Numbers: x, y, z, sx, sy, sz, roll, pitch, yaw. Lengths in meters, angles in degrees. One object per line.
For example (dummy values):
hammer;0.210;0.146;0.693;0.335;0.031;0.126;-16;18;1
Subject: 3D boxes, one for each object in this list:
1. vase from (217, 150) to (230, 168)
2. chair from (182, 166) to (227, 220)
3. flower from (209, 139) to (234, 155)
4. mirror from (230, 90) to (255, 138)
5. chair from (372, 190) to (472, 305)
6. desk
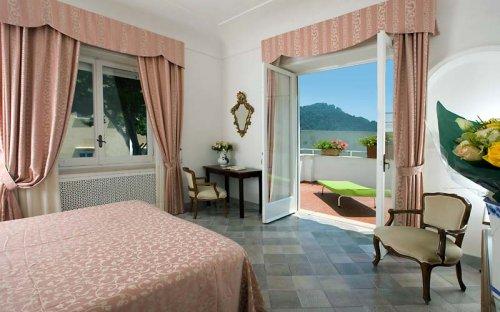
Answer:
vase;-0.566;0.052;6.669;0.308;0.378;0.311;-2;5;-10
chair;-0.870;0.649;6.304;0.779;0.933;0.681;-2;9;-17
flower;-0.541;-0.183;6.728;0.319;0.211;0.318;1;-1;32
mirror;-0.141;-0.873;6.637;0.935;1.136;0.137;7;12;42
chair;2.214;1.034;4.216;0.928;1.153;1.095;-3;6;-10
desk;-0.348;0.686;6.415;0.411;0.602;0.957;-7;9;-41
